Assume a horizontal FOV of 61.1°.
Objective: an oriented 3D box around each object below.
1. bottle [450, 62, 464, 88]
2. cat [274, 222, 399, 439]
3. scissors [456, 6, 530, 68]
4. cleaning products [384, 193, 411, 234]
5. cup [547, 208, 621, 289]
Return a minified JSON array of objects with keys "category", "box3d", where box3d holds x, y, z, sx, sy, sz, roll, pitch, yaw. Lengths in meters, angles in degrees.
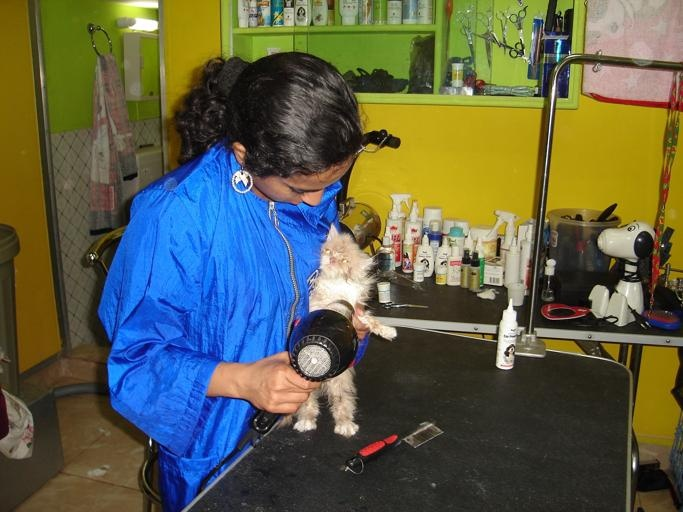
[{"category":"bottle","box3d":[0.628,-0.979,3.107,0.071,0.128,0.038,3,14,6]},{"category":"cat","box3d":[-0.020,0.166,1.653,0.194,0.666,0.293,8,12,30]},{"category":"scissors","box3d":[0.814,-1.179,3.053,0.328,0.352,0.024,-3,34,13]},{"category":"cleaning products","box3d":[0.324,-0.202,3.185,0.140,0.291,0.102,3,4,32]},{"category":"cup","box3d":[1.220,-0.049,2.989,0.317,0.347,0.301,2,10,0]}]
